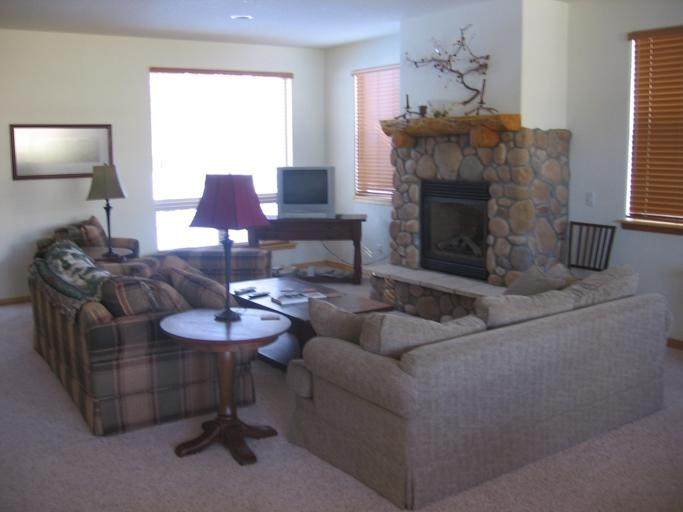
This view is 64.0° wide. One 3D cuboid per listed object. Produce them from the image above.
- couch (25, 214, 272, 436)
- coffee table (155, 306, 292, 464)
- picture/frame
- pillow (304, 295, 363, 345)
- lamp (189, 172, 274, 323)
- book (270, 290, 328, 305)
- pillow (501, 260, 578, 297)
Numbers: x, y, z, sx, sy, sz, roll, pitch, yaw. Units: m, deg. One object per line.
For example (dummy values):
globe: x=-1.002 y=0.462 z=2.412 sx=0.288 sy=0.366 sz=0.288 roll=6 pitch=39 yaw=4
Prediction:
couch: x=-1.402 y=0.387 z=4.156 sx=1.900 sy=0.861 sz=2.181 roll=-1 pitch=11 yaw=-19
coffee table: x=-0.644 y=0.635 z=3.166 sx=0.778 sy=0.734 sz=0.776 roll=-2 pitch=11 yaw=-24
picture/frame: x=-3.079 y=-1.146 z=6.054 sx=1.028 sy=0.608 sz=0.023 roll=-3 pitch=-3 yaw=-11
pillow: x=-0.051 y=0.375 z=3.112 sx=0.312 sy=0.235 sz=0.110 roll=13 pitch=-17 yaw=2
lamp: x=-0.618 y=-0.065 z=3.175 sx=0.429 sy=0.816 sz=0.439 roll=4 pitch=14 yaw=22
book: x=-0.377 y=0.330 z=4.233 sx=0.226 sy=0.025 sz=0.221 roll=-7 pitch=12 yaw=-30
pillow: x=1.214 y=0.208 z=3.356 sx=0.295 sy=0.091 sz=0.296 roll=-19 pitch=11 yaw=-4
